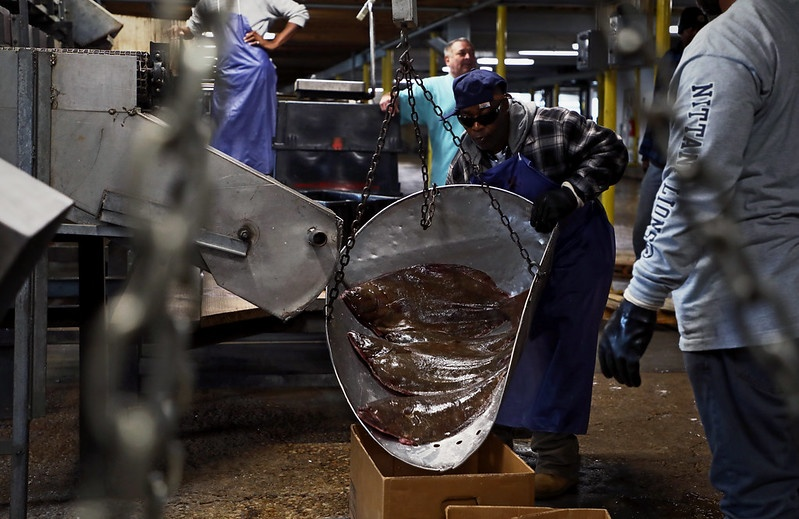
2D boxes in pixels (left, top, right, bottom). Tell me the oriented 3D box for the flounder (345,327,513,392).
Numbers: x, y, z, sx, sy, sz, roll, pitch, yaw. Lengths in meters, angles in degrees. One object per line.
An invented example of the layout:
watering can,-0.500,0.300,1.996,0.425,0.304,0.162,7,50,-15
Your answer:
flounder,0.145,0.462,5.005,0.533,0.201,0.339,-9,25,4

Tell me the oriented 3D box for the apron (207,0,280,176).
apron,-1.010,-1.080,7.507,0.504,1.084,0.369,-4,10,-24

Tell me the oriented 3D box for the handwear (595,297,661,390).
handwear,0.913,0.334,4.608,0.100,0.360,0.229,18,3,-43

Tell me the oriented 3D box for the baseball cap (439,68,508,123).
baseball cap,0.345,-0.789,5.269,0.266,0.183,0.204,-25,9,1
